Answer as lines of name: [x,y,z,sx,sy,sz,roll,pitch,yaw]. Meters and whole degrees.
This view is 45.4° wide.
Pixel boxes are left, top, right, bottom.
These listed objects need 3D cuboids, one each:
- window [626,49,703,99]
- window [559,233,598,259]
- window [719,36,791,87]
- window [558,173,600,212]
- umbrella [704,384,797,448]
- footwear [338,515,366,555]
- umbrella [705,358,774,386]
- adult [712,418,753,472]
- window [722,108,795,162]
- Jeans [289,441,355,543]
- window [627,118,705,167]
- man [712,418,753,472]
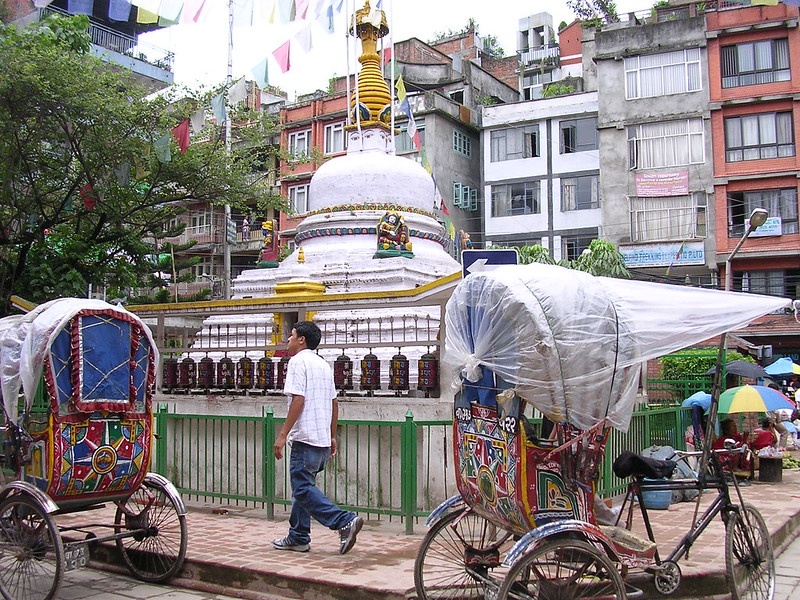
window: [8.519,-7.159,30.346,1.878,1.138,0.071,0,0,38]
window: [5.989,-1.782,31.760,1.392,1.388,0.043,-3,1,37]
window: [10.898,-7.201,29.052,1.747,1.244,0.146,-2,-8,30]
window: [6.479,-3.810,34.145,1.453,1.247,0.116,1,-7,27]
umbrella: [5.643,1.881,15.284,1.030,0.861,1.054,-10,-11,34]
footwear: [-0.552,2.666,10.911,0.261,0.559,0.190,19,16,2]
umbrella: [6.267,1.357,17.700,1.074,0.352,1.072,1,-12,8]
adult: [5.462,2.411,15.636,0.567,0.870,0.718,-5,3,30]
window: [10.882,-4.913,28.743,1.756,1.274,0.065,-4,-6,36]
Jeans: [-0.904,2.234,11.015,0.751,1.189,0.528,0,-3,2]
window: [8.509,-4.914,30.120,1.716,1.086,0.260,-3,-3,33]
man: [5.451,2.418,15.616,0.575,0.878,0.756,-4,2,24]
